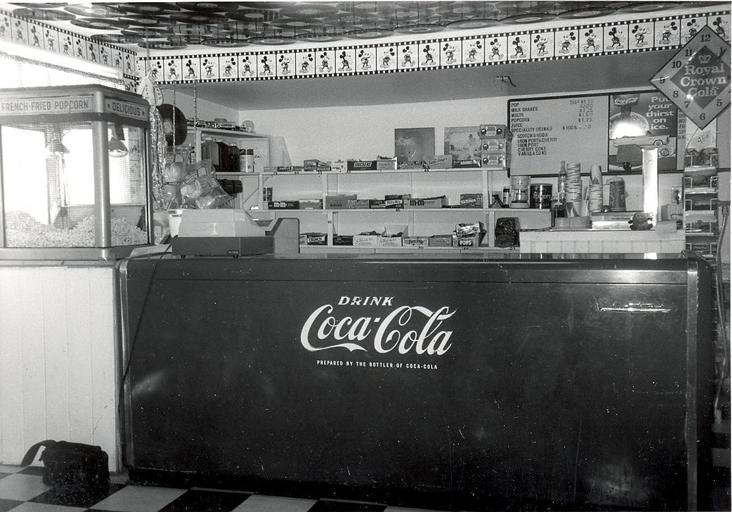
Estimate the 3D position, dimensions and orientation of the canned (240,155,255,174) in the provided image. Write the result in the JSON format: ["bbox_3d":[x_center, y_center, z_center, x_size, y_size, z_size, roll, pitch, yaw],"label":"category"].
[{"bbox_3d":[-1.384,-1.056,10.141,0.179,0.225,0.188,0,6,-3],"label":"canned"}]

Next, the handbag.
[{"bbox_3d":[-1.959,1.347,5.653,0.378,0.148,0.288,3,1,19],"label":"handbag"}]
